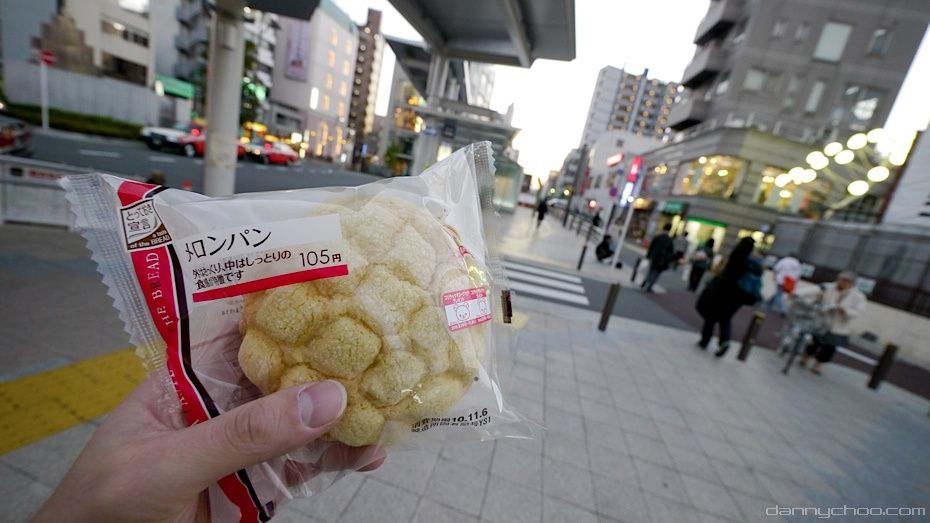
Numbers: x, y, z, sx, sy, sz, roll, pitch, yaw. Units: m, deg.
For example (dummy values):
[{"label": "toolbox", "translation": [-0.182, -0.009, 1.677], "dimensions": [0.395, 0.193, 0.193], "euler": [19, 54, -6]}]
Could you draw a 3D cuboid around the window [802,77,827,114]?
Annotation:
[{"label": "window", "translation": [14.314, -6.760, 21.022], "dimensions": [0.509, 1.069, 1.501], "euler": [22, 18, 28]}]

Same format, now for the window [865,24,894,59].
[{"label": "window", "translation": [14.944, -7.934, 18.537], "dimensions": [0.290, 0.925, 0.564], "euler": [-2, 22, -43]}]

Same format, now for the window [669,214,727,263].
[{"label": "window", "translation": [14.057, -1.123, 31.450], "dimensions": [3.071, 2.776, 2.071], "euler": [7, 0, -14]}]

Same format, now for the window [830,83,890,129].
[{"label": "window", "translation": [14.497, -5.627, 18.872], "dimensions": [1.151, 1.715, 2.333], "euler": [17, 16, 16]}]

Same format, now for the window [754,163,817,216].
[{"label": "window", "translation": [18.581, -4.080, 28.684], "dimensions": [2.181, 2.648, 3.824], "euler": [-8, 14, -11]}]

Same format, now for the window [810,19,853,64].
[{"label": "window", "translation": [14.211, -8.505, 19.902], "dimensions": [0.455, 1.428, 1.280], "euler": [7, 16, -21]}]

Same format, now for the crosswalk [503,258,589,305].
[{"label": "crosswalk", "translation": [3.024, 0.817, 19.298], "dimensions": [2.988, 0.294, 3.329], "euler": [12, 14, 0]}]
